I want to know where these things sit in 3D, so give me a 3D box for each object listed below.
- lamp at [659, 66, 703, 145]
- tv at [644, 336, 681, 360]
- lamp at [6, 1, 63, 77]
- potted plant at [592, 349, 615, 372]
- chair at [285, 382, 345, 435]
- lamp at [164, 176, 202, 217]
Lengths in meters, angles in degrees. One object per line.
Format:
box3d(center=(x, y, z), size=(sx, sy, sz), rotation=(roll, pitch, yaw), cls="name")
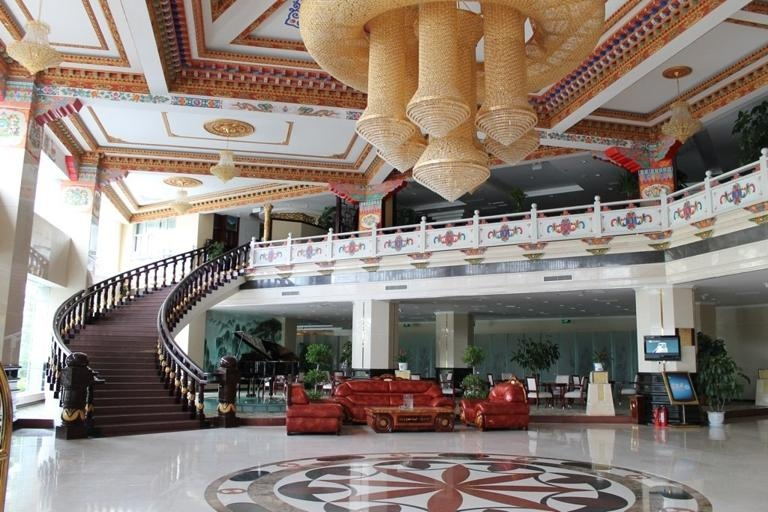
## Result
box3d(center=(6.897, -3.333, 12.791), size=(0.713, 1.752, 2.286), rotation=(-2, -8, 29), cls="lamp")
box3d(center=(7.154, 2.348, 14.087), size=(0.715, 0.470, 0.102), rotation=(-4, -12, 43), cls="tv")
box3d(center=(-5.993, -3.663, 9.450), size=(0.750, 0.823, 0.476), rotation=(5, -7, -24), cls="lamp")
box3d(center=(8.906, 4.264, 22.525), size=(0.709, 0.988, 1.318), rotation=(-2, -8, 29), cls="potted plant")
box3d(center=(-1.493, 3.313, 11.752), size=(1.102, 0.853, 1.439), rotation=(0, -11, -3), cls="chair")
box3d(center=(-7.107, -2.164, 19.561), size=(1.297, 1.104, 1.255), rotation=(-4, -10, 27), cls="lamp")
